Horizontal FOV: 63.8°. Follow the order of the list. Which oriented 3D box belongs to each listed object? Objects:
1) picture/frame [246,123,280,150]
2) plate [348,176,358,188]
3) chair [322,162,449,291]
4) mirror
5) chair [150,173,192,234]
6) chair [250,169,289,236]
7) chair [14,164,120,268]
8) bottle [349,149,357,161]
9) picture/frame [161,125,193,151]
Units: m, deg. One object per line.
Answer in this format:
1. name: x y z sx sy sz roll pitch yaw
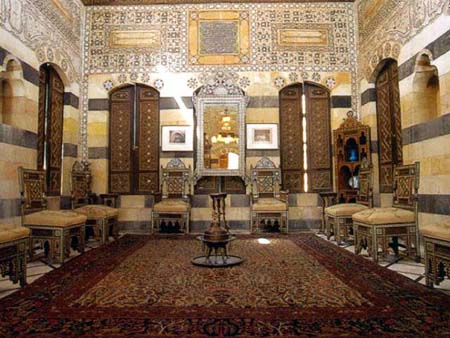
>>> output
1. picture/frame: 0.921 -0.776 8.878 0.787 0.520 0.050 0 -4 -2
2. plate: 3.001 0.302 8.504 0.286 0.234 0.058 17 0 38
3. chair: 2.794 1.001 6.166 0.731 1.220 1.879 2 -3 0
4. mirror: -0.113 -0.829 8.736 1.297 2.147 0.460 -1 8 0
5. chair: -1.255 0.755 8.421 0.853 1.312 0.887 -2 8 -5
6. chair: 1.033 0.770 8.460 0.858 1.479 0.771 0 8 5
7. chair: -3.016 0.910 6.774 0.765 1.151 1.822 0 -1 1
8. bottle: 3.047 -0.331 8.572 0.167 0.278 0.378 2 8 19
9. picture/frame: -1.168 -0.779 8.892 0.850 0.600 0.060 2 7 26
